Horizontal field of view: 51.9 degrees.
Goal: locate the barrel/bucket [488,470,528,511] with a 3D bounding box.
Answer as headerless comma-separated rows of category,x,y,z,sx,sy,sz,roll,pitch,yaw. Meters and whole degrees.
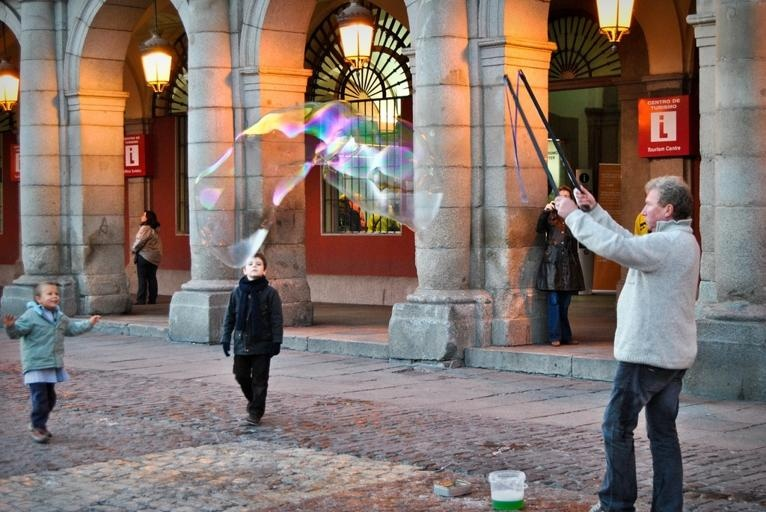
barrel/bucket,0.782,1.450,4.952,0.268,0.218,0.265,-2,-2,0

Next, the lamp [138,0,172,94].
lamp,-4.054,-3.784,14.067,0.513,1.762,0.869,1,-1,-15

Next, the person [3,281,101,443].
person,-3.626,1.194,8.655,0.760,1.931,1.335,-7,-6,37

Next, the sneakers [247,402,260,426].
sneakers,-1.208,1.463,7.354,0.117,0.200,0.095,1,-1,-8

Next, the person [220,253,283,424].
person,-1.244,0.772,7.462,0.540,1.580,0.401,1,-1,-11

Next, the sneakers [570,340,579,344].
sneakers,2.531,1.138,10.437,0.057,0.036,0.141,0,-5,-2

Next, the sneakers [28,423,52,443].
sneakers,-3.040,1.557,6.941,0.203,0.147,0.205,1,-1,-5

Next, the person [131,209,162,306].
person,-5.116,0.007,17.015,0.584,2.028,0.964,1,-1,-16
